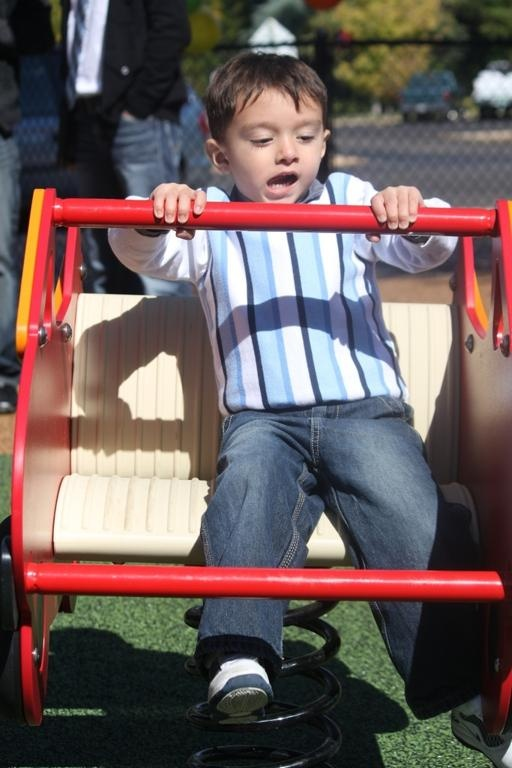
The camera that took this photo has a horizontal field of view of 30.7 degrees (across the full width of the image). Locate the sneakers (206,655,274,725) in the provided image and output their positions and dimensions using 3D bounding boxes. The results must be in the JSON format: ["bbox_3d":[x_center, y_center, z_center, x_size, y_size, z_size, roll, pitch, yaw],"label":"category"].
[{"bbox_3d":[-0.012,0.320,0.994,0.064,0.124,0.061,-7,60,1],"label":"sneakers"}]
